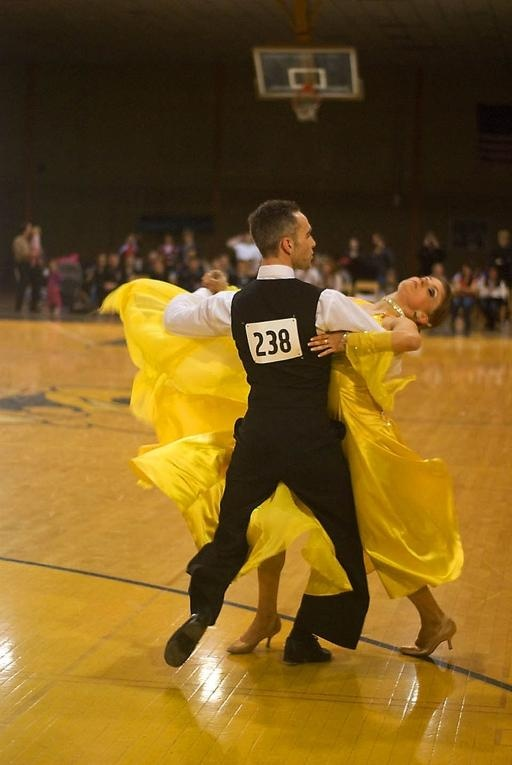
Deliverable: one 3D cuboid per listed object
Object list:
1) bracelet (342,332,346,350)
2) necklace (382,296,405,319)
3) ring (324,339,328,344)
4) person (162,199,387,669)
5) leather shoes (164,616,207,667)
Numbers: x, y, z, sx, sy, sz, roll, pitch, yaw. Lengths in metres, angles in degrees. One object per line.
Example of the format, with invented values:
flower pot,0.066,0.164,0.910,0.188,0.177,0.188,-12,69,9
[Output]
bracelet,0.234,-0.113,1.794,0.010,0.031,0.035,-1,25,13
necklace,0.422,-0.231,2.058,0.030,0.075,0.066,-47,-22,11
ring,0.181,-0.111,1.767,0.015,0.012,0.004,0,-5,3
person,0.054,0.176,1.853,0.612,1.348,0.322,2,-2,-21
leather shoes,-0.182,0.670,1.744,0.089,0.126,0.135,1,-1,7
